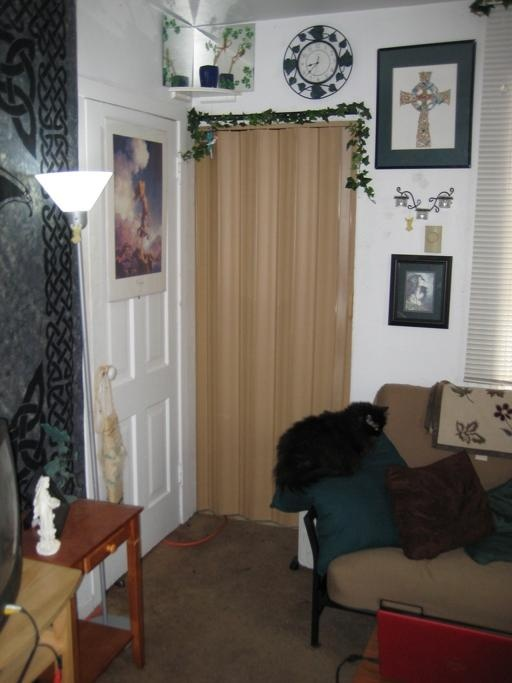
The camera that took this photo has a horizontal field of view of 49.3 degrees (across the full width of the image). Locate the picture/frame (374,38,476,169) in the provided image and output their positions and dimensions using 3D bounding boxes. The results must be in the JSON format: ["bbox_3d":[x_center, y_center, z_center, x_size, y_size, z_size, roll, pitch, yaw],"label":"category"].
[{"bbox_3d":[0.794,-1.098,2.606,0.440,0.689,0.022,3,-18,14],"label":"picture/frame"}]

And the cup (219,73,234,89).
[{"bbox_3d":[-0.147,-1.292,2.770,0.075,0.104,0.091,3,23,5],"label":"cup"}]

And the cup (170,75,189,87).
[{"bbox_3d":[-0.358,-1.215,2.610,0.056,0.051,0.067,9,38,5],"label":"cup"}]

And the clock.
[{"bbox_3d":[0.316,-1.365,2.705,0.290,0.362,0.018,5,17,26],"label":"clock"}]

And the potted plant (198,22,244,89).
[{"bbox_3d":[-0.184,-1.372,2.735,0.137,0.256,0.146,7,3,13],"label":"potted plant"}]

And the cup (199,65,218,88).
[{"bbox_3d":[-0.231,-1.283,2.716,0.095,0.135,0.112,-4,29,-9],"label":"cup"}]

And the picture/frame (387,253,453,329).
[{"bbox_3d":[0.808,-0.239,2.742,0.286,0.432,0.039,6,44,20],"label":"picture/frame"}]
